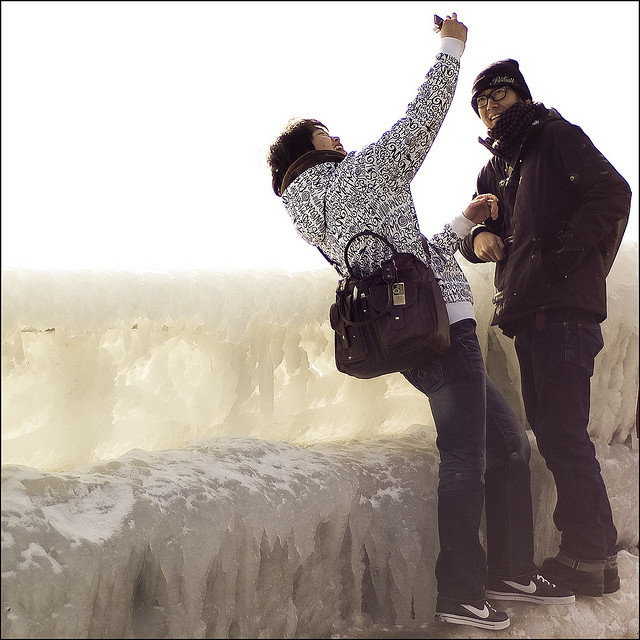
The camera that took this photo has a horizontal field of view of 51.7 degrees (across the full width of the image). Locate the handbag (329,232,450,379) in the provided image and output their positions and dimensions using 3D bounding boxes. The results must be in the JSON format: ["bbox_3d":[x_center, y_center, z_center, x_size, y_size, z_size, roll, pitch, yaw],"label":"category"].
[{"bbox_3d":[0.207,-0.044,1.903,0.275,0.378,0.169,-18,-8,37],"label":"handbag"}]

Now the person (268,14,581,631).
[{"bbox_3d":[0.431,0.025,2.098,0.600,1.722,0.592,-25,-22,39],"label":"person"}]
